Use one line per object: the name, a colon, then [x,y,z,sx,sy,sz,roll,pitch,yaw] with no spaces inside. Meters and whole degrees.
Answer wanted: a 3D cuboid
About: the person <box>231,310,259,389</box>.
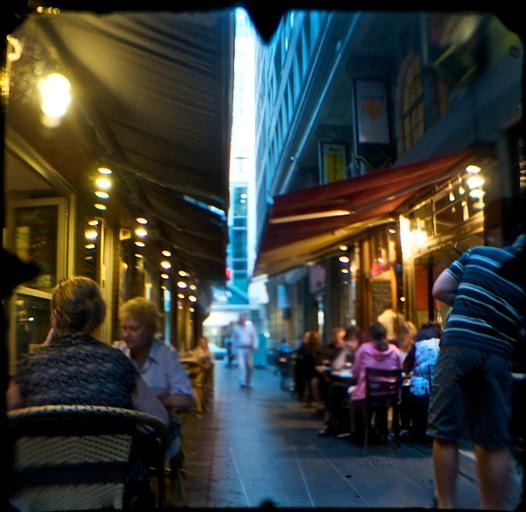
person: [-0.443,2.217,14.040,0.584,1.779,1.412,1,-9,-2]
